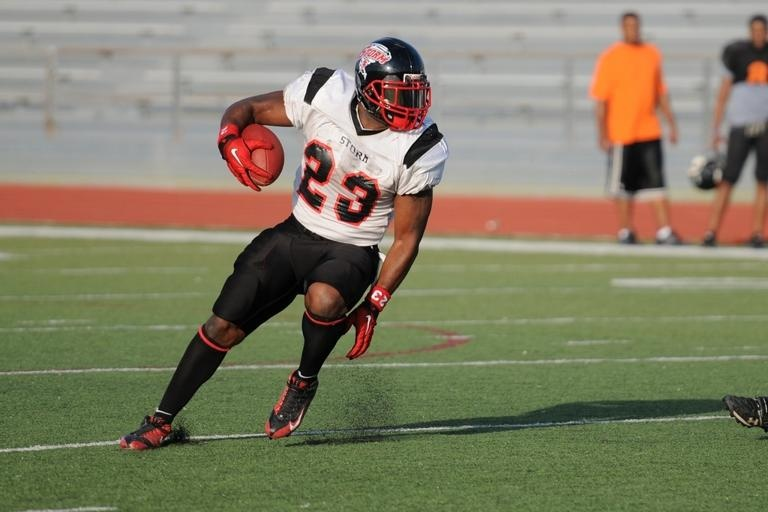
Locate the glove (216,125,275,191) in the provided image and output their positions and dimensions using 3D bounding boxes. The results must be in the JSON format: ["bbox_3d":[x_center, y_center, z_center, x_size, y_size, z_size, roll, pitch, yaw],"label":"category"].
[{"bbox_3d":[-0.882,-0.642,9.712,0.316,0.273,0.382,28,12,13],"label":"glove"}]

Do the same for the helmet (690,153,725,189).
[{"bbox_3d":[2.574,-0.700,11.565,0.267,0.288,0.146,16,-4,17],"label":"helmet"}]

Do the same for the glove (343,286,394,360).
[{"bbox_3d":[-0.112,0.448,9.656,0.255,0.517,0.324,3,7,-1],"label":"glove"}]

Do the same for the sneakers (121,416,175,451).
[{"bbox_3d":[-1.550,1.165,9.557,0.372,0.151,0.180,-7,15,-40],"label":"sneakers"}]

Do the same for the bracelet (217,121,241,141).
[{"bbox_3d":[-1.046,-0.826,9.669,0.153,0.099,0.108,3,-19,-4],"label":"bracelet"}]

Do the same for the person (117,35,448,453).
[{"bbox_3d":[-0.480,-0.082,9.684,1.673,2.666,0.506,3,7,1],"label":"person"}]

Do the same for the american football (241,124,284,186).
[{"bbox_3d":[-0.814,-0.660,9.729,0.297,0.373,0.268,-19,-19,41],"label":"american football"}]

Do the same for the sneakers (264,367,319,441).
[{"bbox_3d":[-0.598,1.016,9.797,0.230,0.581,0.237,34,-10,4],"label":"sneakers"}]

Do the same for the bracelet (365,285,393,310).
[{"bbox_3d":[-0.037,0.274,9.692,0.148,0.134,0.173,28,4,-1],"label":"bracelet"}]

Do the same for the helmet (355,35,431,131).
[{"bbox_3d":[0.045,-1.170,9.735,0.484,0.456,0.647,-4,27,-40],"label":"helmet"}]
